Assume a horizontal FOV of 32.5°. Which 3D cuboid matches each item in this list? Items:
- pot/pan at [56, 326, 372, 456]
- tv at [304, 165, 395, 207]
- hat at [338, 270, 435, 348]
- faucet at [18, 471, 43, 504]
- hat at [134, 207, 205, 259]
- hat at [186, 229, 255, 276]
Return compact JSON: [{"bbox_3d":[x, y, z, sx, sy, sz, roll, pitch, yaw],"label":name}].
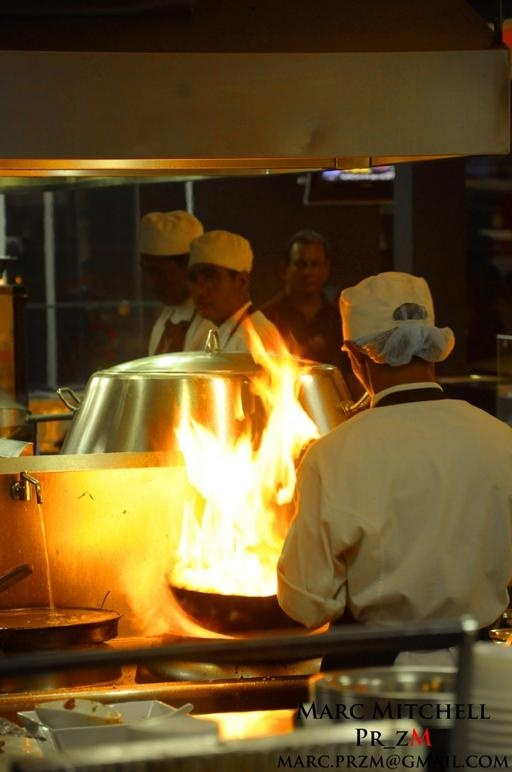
[{"bbox_3d":[-0.074,0.008,2.060,0.666,0.244,0.609,-1,0,10],"label":"pot/pan"},{"bbox_3d":[0.428,-0.890,3.940,0.469,0.177,0.196,0,0,-12],"label":"tv"},{"bbox_3d":[0.213,-0.128,1.476,0.149,0.085,0.137,-10,-7,-12],"label":"hat"},{"bbox_3d":[-0.411,0.183,1.597,0.037,0.057,0.077,1,0,-15],"label":"faucet"},{"bbox_3d":[-0.294,-0.513,2.925,0.190,0.102,0.185,4,12,22],"label":"hat"},{"bbox_3d":[-0.102,-0.408,2.700,0.161,0.089,0.152,4,3,8],"label":"hat"}]
